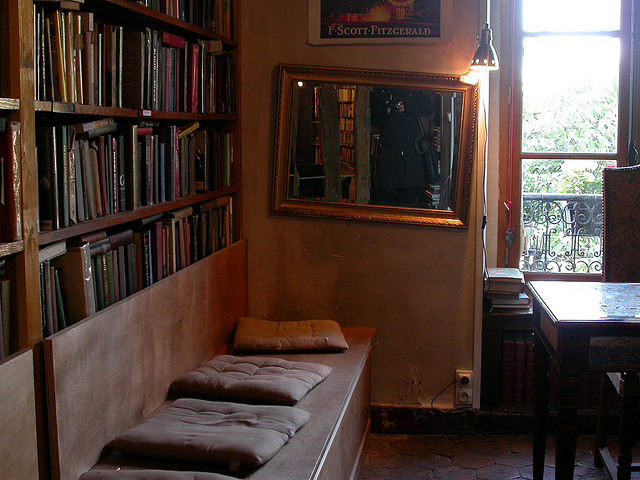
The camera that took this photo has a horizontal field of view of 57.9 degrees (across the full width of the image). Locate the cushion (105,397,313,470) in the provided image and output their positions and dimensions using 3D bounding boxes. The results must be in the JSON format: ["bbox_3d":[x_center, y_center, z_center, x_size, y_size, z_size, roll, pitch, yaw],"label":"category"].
[{"bbox_3d":[-0.413,0.710,2.205,0.650,0.127,0.435,9,14,15],"label":"cushion"}]

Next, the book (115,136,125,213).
[{"bbox_3d":[-0.814,-0.268,2.356,0.033,0.301,0.068,0,11,-20],"label":"book"}]

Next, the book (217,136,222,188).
[{"bbox_3d":[-0.579,-0.450,3.322,0.030,0.285,0.037,5,10,9],"label":"book"}]

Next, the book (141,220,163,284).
[{"bbox_3d":[-0.774,0.015,2.719,0.090,0.280,0.274,2,-22,-16],"label":"book"}]

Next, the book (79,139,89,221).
[{"bbox_3d":[-0.876,-0.223,2.145,0.029,0.290,0.031,1,11,-15],"label":"book"}]

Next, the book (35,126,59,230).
[{"bbox_3d":[-0.932,-0.208,1.968,0.066,0.338,0.055,0,11,-21],"label":"book"}]

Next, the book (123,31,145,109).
[{"bbox_3d":[-0.793,-0.723,2.459,0.087,0.312,0.068,0,11,-20],"label":"book"}]

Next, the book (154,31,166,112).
[{"bbox_3d":[-0.724,-0.756,2.610,0.034,0.331,0.161,3,11,-5],"label":"book"}]

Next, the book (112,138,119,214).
[{"bbox_3d":[-0.821,-0.260,2.324,0.023,0.293,0.064,3,10,-2],"label":"book"}]

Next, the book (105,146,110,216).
[{"bbox_3d":[-0.840,-0.245,2.281,0.016,0.243,0.041,-1,11,-27],"label":"book"}]

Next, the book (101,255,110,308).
[{"bbox_3d":[-0.835,0.154,2.253,0.029,0.195,0.048,6,11,14],"label":"book"}]

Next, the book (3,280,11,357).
[{"bbox_3d":[-0.983,0.241,1.813,0.021,0.229,0.047,-2,12,-30],"label":"book"}]

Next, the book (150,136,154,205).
[{"bbox_3d":[-0.749,-0.316,2.581,0.012,0.284,0.054,1,11,-14],"label":"book"}]

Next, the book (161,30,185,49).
[{"bbox_3d":[-0.681,-0.913,2.682,0.026,0.089,0.116,-3,3,27],"label":"book"}]

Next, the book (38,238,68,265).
[{"bbox_3d":[-0.933,0.035,2.012,0.088,0.022,0.084,-27,17,-39],"label":"book"}]

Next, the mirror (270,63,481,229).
[{"bbox_3d":[0.367,-0.579,3.345,0.792,0.661,0.041,4,5,1],"label":"mirror"}]

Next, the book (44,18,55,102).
[{"bbox_3d":[-0.922,-0.617,1.971,0.022,0.271,0.026,14,21,37],"label":"book"}]

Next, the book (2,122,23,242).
[{"bbox_3d":[-0.954,-0.189,1.786,0.053,0.434,0.303,-1,5,-25],"label":"book"}]

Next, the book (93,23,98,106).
[{"bbox_3d":[-0.852,-0.666,2.193,0.016,0.296,0.058,0,11,-22],"label":"book"}]

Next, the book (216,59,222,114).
[{"bbox_3d":[-0.562,-0.860,3.236,0.034,0.287,0.042,2,10,-12],"label":"book"}]

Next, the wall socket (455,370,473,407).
[{"bbox_3d":[0.861,0.871,3.471,0.119,0.224,0.117,1,4,-3],"label":"wall socket"}]

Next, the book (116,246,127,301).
[{"bbox_3d":[-0.810,0.133,2.359,0.032,0.159,0.143,0,5,-8],"label":"book"}]

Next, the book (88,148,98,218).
[{"bbox_3d":[-0.850,-0.216,2.195,0.021,0.211,0.026,-11,16,-32],"label":"book"}]

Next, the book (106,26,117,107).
[{"bbox_3d":[-0.825,-0.687,2.289,0.040,0.305,0.047,0,11,-22],"label":"book"}]

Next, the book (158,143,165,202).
[{"bbox_3d":[-0.730,-0.309,2.660,0.028,0.265,0.069,2,11,-10],"label":"book"}]

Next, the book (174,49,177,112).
[{"bbox_3d":[-0.689,-0.760,2.762,0.012,0.279,0.032,2,10,-9],"label":"book"}]

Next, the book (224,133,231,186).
[{"bbox_3d":[-0.542,-0.470,3.374,0.023,0.301,0.060,8,11,23],"label":"book"}]

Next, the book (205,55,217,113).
[{"bbox_3d":[-0.593,-0.844,3.131,0.035,0.300,0.160,5,11,6],"label":"book"}]

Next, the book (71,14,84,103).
[{"bbox_3d":[-0.874,-0.657,2.099,0.025,0.307,0.058,3,10,-2],"label":"book"}]

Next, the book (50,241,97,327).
[{"bbox_3d":[-0.887,0.152,2.096,0.221,0.252,0.053,2,9,43],"label":"book"}]

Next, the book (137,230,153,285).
[{"bbox_3d":[-0.766,0.077,2.517,0.029,0.233,0.189,-2,10,-14],"label":"book"}]

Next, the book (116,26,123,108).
[{"bbox_3d":[-0.824,-0.707,2.375,0.020,0.310,0.158,1,11,-17],"label":"book"}]
